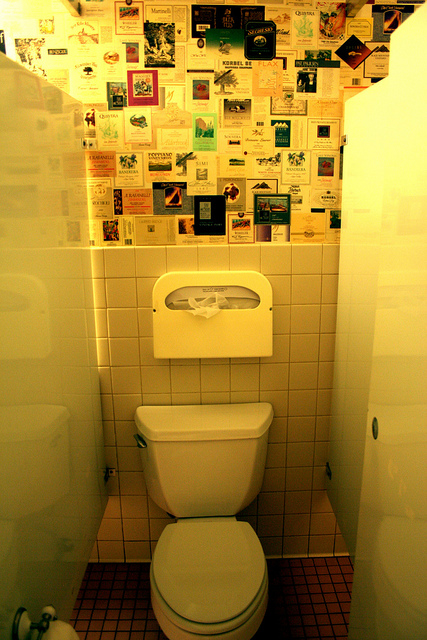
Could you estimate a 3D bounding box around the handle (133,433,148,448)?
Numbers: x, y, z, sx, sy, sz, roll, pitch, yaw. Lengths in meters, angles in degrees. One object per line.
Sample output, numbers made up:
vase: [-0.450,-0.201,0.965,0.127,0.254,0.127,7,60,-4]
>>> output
handle: [-0.249,0.412,1.669,0.037,0.046,0.051,1,-3,-11]

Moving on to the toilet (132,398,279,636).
toilet: [-0.032,0.574,1.560,0.502,0.675,0.677,0,7,-2]
